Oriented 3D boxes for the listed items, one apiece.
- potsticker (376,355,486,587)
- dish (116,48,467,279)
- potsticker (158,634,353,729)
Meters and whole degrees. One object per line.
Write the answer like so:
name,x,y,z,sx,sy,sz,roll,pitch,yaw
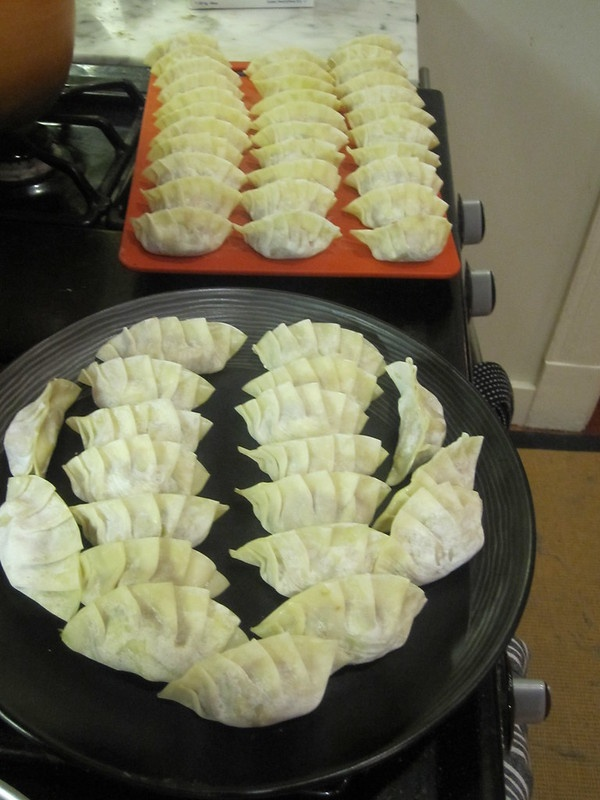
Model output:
potsticker,0.112,0.078,0.668,0.113,0.045,0.149,16,59,-9
dish,-0.022,-0.339,1.017,0.402,0.098,0.504,-4,55,0
potsticker,-0.030,0.198,0.524,0.139,0.038,0.071,-11,28,-13
